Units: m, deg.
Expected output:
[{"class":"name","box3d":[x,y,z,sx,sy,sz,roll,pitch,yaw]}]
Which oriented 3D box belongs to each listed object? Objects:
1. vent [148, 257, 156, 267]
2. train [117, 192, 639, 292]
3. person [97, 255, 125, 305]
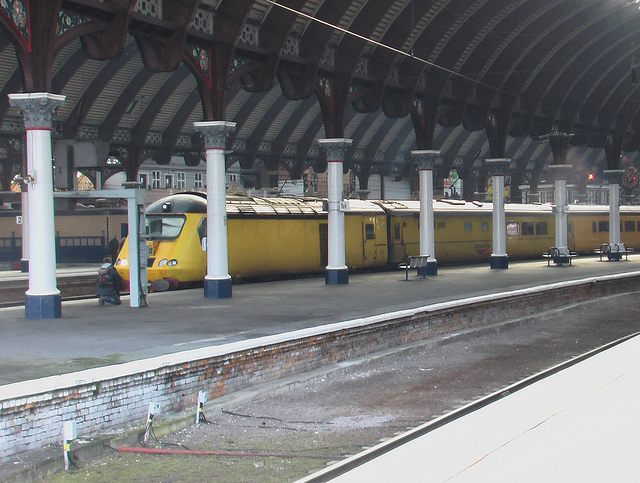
[{"class":"vent","box3d":[-5.453,0.621,28.008,0.232,0.437,0.043,1,-3,16]},{"class":"train","box3d":[2.208,0.044,32.865,2.687,3.762,25.802,1,2,29]},{"class":"person","box3d":[-5.836,1.115,24.083,0.536,1.349,0.832,-8,-14,17]}]
